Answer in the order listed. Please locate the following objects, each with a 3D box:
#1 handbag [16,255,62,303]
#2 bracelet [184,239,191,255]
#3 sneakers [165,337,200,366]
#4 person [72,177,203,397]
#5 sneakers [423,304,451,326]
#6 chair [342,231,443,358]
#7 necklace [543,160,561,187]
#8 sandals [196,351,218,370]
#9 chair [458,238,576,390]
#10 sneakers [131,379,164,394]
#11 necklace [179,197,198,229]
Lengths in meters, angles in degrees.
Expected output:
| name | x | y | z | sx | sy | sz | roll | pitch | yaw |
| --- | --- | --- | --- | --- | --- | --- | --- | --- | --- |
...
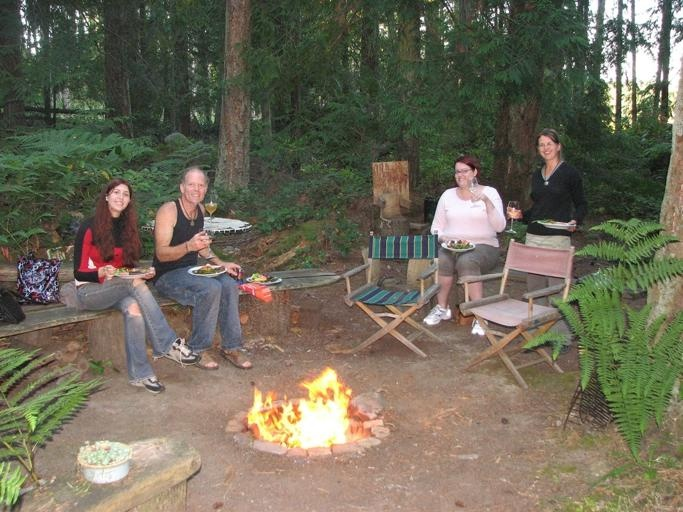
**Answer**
| name | x | y | z | sx | sy | sz | roll | pitch | yaw |
| --- | --- | --- | --- | --- | --- | --- | --- | --- | --- |
| handbag | -3.026 | 0.243 | 5.639 | 0.432 | 0.470 | 0.175 | 0 | -7 | -5 |
| bracelet | -1.590 | -0.107 | 5.827 | 0.030 | 0.109 | 0.110 | 4 | -17 | -16 |
| sneakers | -1.641 | 0.985 | 5.842 | 0.445 | 0.203 | 0.185 | 11 | 22 | 25 |
| person | -2.131 | 0.239 | 5.598 | 1.050 | 1.980 | 0.663 | 2 | 12 | 18 |
| sneakers | 1.169 | 0.718 | 7.104 | 0.445 | 0.227 | 0.177 | -13 | 27 | -23 |
| chair | 0.609 | 0.441 | 6.513 | 1.177 | 1.350 | 1.220 | -4 | 7 | -16 |
| necklace | 2.385 | -0.953 | 6.421 | 0.056 | 0.241 | 0.208 | 0 | 13 | -29 |
| sandals | -1.412 | 1.082 | 5.901 | 0.302 | 0.134 | 0.103 | 3 | 7 | 42 |
| chair | 1.817 | 0.624 | 5.953 | 0.981 | 1.324 | 1.054 | -5 | 13 | -14 |
| sneakers | -1.863 | 1.206 | 5.439 | 0.336 | 0.152 | 0.135 | 5 | 9 | 13 |
| necklace | -1.618 | -0.457 | 5.980 | 0.190 | 0.271 | 0.064 | 6 | -26 | -40 |
